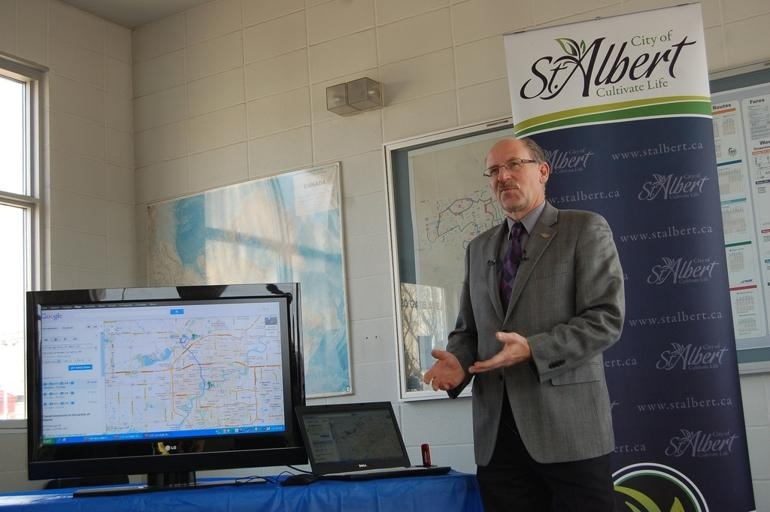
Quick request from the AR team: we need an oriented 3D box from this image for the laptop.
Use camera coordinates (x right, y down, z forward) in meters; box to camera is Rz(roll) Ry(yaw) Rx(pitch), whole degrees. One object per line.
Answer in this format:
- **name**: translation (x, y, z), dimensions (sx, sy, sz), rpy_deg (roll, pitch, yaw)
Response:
- **laptop**: translation (-0.116, 0.795, 2.882), dimensions (0.475, 0.283, 0.354), rpy_deg (2, -18, -29)
